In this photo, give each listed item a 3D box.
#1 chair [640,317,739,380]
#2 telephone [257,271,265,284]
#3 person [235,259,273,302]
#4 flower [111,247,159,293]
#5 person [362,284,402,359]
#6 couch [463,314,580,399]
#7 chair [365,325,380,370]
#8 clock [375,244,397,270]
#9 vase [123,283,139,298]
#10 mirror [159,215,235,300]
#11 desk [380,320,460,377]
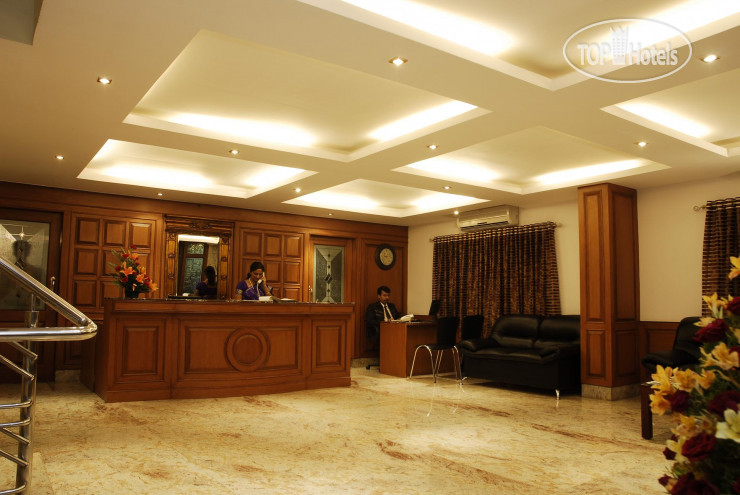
[{"bbox_3d":[4.077,1.382,6.334,0.911,0.797,0.662,-6,0,-8],"label":"chair"},{"bbox_3d":[-1.783,0.453,7.957,0.110,0.169,0.062,5,-44,-9],"label":"telephone"},{"bbox_3d":[-1.866,0.518,7.733,0.492,0.572,0.748,2,-3,-11],"label":"person"},{"bbox_3d":[-3.365,0.401,6.842,0.593,0.672,0.574,7,-2,-27],"label":"flower"},{"bbox_3d":[0.427,1.680,10.309,0.837,1.584,0.899,-7,4,-36],"label":"person"},{"bbox_3d":[2.618,1.688,8.140,1.132,1.098,1.944,7,-8,-38],"label":"couch"},{"bbox_3d":[0.038,2.046,10.365,0.292,0.953,0.536,2,-3,-1],"label":"chair"},{"bbox_3d":[0.322,0.211,10.867,0.079,0.441,0.477,-7,-27,46],"label":"clock"},{"bbox_3d":[-3.263,0.575,6.681,0.211,0.143,0.207,2,-2,23],"label":"vase"},{"bbox_3d":[-3.159,0.245,8.908,1.089,1.689,0.162,3,-32,-22],"label":"mirror"},{"bbox_3d":[1.005,1.985,9.698,1.451,0.933,0.998,5,-8,-35],"label":"desk"}]
